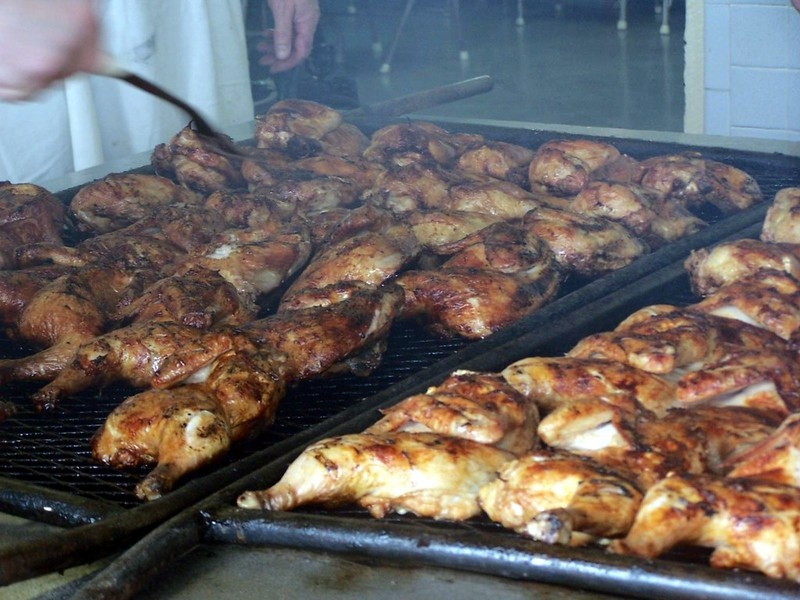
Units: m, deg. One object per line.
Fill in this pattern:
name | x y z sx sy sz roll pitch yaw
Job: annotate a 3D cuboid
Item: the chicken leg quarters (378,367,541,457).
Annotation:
chicken leg quarters | 0.244 0.425 2.768 0.565 0.136 0.328 -8 23 -20
